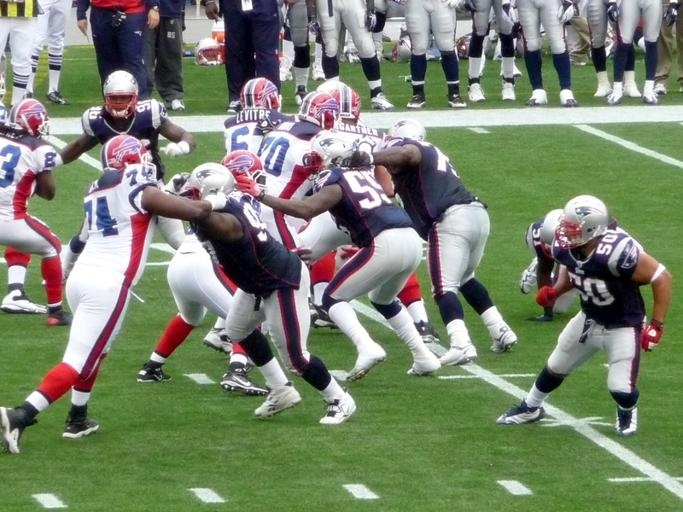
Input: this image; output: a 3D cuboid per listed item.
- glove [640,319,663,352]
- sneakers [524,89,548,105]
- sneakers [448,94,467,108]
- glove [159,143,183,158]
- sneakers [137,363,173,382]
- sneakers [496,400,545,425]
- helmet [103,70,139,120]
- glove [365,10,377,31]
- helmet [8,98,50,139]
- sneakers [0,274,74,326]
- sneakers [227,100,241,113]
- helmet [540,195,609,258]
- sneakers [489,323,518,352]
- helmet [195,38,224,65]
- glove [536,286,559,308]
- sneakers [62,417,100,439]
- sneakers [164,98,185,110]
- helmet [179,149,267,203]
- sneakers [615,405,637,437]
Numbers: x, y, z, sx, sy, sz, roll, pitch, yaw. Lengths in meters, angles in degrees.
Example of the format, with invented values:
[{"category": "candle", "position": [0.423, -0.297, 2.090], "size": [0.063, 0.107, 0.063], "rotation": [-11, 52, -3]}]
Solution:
[{"category": "glove", "position": [1.620, 0.414, 6.438], "size": [0.095, 0.166, 0.175], "rotation": [2, 7, 13]}, {"category": "sneakers", "position": [2.266, -1.814, 14.197], "size": [0.129, 0.133, 0.321], "rotation": [-1, 6, 19]}, {"category": "sneakers", "position": [1.311, -1.750, 13.913], "size": [0.100, 0.094, 0.248], "rotation": [-5, 16, -16]}, {"category": "glove", "position": [-1.121, -0.714, 8.325], "size": [0.112, 0.089, 0.234], "rotation": [0, 7, -6]}, {"category": "sneakers", "position": [-1.120, 0.694, 7.353], "size": [0.234, 0.098, 0.086], "rotation": [-1, 22, -25]}, {"category": "sneakers", "position": [0.979, 0.866, 6.804], "size": [0.324, 0.128, 0.101], "rotation": [-2, 10, -9]}, {"category": "helmet", "position": [-1.510, -1.106, 8.455], "size": [0.218, 0.327, 0.250], "rotation": [-1, 7, -10]}, {"category": "glove", "position": [0.343, -2.628, 13.646], "size": [0.145, 0.237, 0.067], "rotation": [1, -3, 0]}, {"category": "helmet", "position": [-2.118, -0.949, 8.336], "size": [0.234, 0.256, 0.298], "rotation": [9, 11, 30]}, {"category": "sneakers", "position": [-2.043, 0.327, 8.341], "size": [0.578, 0.233, 0.281], "rotation": [7, 9, 42]}, {"category": "sneakers", "position": [-1.151, -1.605, 13.277], "size": [0.120, 0.139, 0.343], "rotation": [-1, 15, -5]}, {"category": "helmet", "position": [1.246, -0.165, 6.551], "size": [0.329, 0.223, 0.227], "rotation": [-19, 28, 9]}, {"category": "sneakers", "position": [1.020, 0.530, 7.821], "size": [0.117, 0.153, 0.223], "rotation": [-48, 4, -24]}, {"category": "helmet", "position": [-1.995, -3.127, 18.919], "size": [0.370, 0.366, 0.478], "rotation": [-6, 7, -27]}, {"category": "glove", "position": [1.201, 0.244, 7.336], "size": [0.108, 0.139, 0.147], "rotation": [4, -3, 25]}, {"category": "sneakers", "position": [-1.380, 0.908, 6.584], "size": [0.203, 0.091, 0.077], "rotation": [-10, 26, -24]}, {"category": "sneakers", "position": [-1.879, -1.737, 14.068], "size": [0.120, 0.093, 0.290], "rotation": [-19, 18, -20]}, {"category": "helmet", "position": [-0.642, -0.436, 6.619], "size": [0.410, 0.189, 0.232], "rotation": [-22, 18, 1]}, {"category": "sneakers", "position": [1.519, 0.880, 6.542], "size": [0.073, 0.079, 0.196], "rotation": [-5, 24, 11]}]
